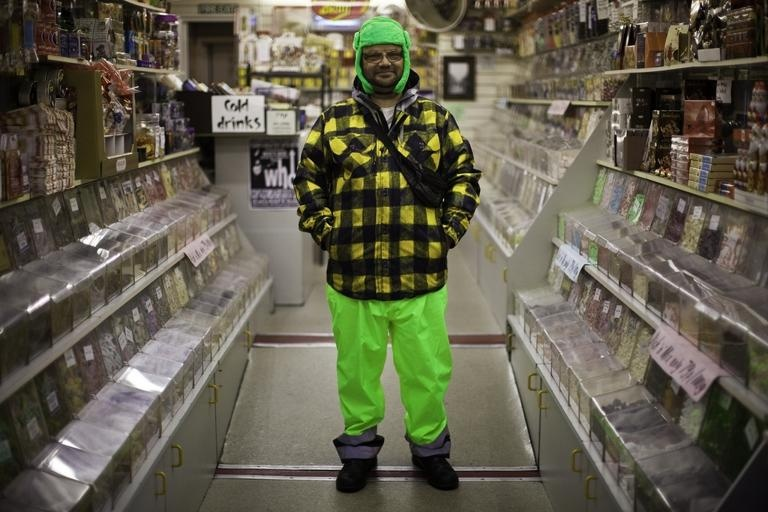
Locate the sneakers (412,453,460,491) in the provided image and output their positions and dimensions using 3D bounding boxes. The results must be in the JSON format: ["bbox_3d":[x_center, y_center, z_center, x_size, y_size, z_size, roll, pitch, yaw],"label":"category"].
[{"bbox_3d":[0.300,1.199,2.917,0.127,0.143,0.330,-3,6,-32],"label":"sneakers"}]

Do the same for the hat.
[{"bbox_3d":[-0.005,-1.080,2.848,0.386,0.516,0.368,0,16,4],"label":"hat"}]

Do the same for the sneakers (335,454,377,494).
[{"bbox_3d":[-0.152,1.223,2.877,0.119,0.115,0.267,-2,-7,17],"label":"sneakers"}]

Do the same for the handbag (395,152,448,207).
[{"bbox_3d":[0.198,-0.382,2.715,0.291,0.122,0.226,48,41,12],"label":"handbag"}]
